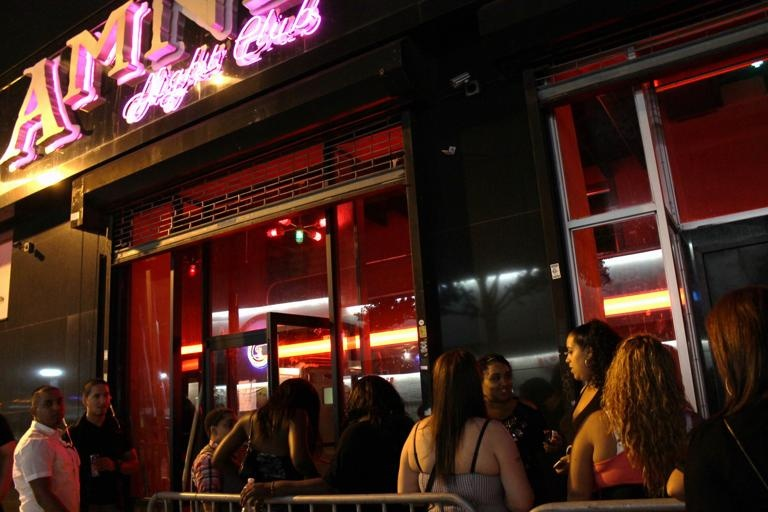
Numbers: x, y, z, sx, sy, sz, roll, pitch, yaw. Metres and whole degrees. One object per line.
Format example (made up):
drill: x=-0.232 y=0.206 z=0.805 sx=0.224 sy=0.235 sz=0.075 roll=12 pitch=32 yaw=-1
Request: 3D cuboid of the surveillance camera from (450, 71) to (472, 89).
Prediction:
surveillance camera: x=0.812 y=-1.861 z=6.875 sx=0.153 sy=0.157 sz=0.060 roll=-21 pitch=-11 yaw=11
